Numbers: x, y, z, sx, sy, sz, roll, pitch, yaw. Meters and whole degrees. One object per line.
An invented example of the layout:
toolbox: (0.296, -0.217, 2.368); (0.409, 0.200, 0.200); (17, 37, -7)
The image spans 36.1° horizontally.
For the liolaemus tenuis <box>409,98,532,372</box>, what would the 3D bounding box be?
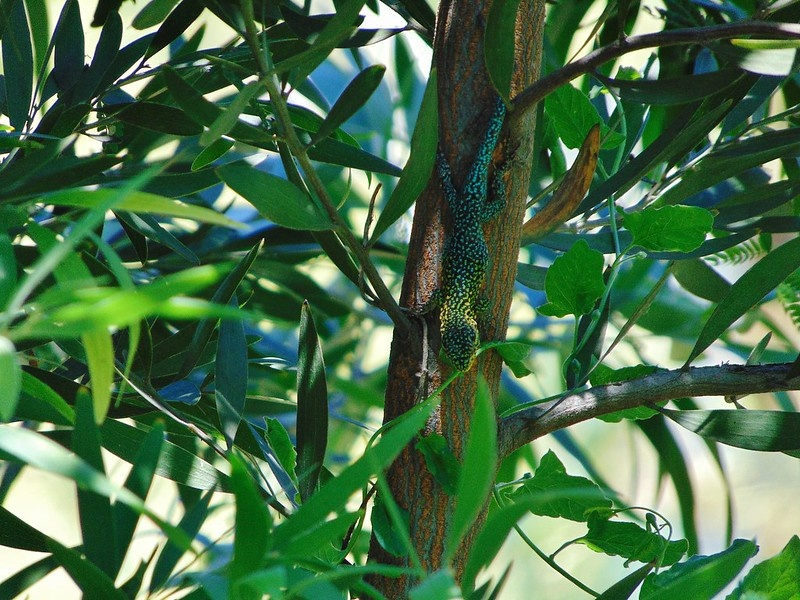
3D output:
liolaemus tenuis: (0.106, -0.092, 1.718); (0.122, 0.055, 0.394); (7, -89, 2)
